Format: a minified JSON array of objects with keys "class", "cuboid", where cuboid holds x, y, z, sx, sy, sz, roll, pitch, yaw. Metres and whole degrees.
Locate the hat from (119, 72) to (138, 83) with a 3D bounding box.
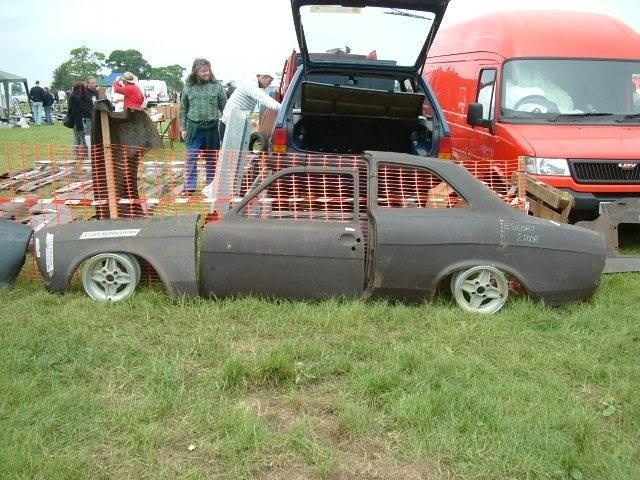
[{"class":"hat","cuboid":[-4.382,-3.705,11.870,0.385,0.146,0.399,15,20,-34]}]
